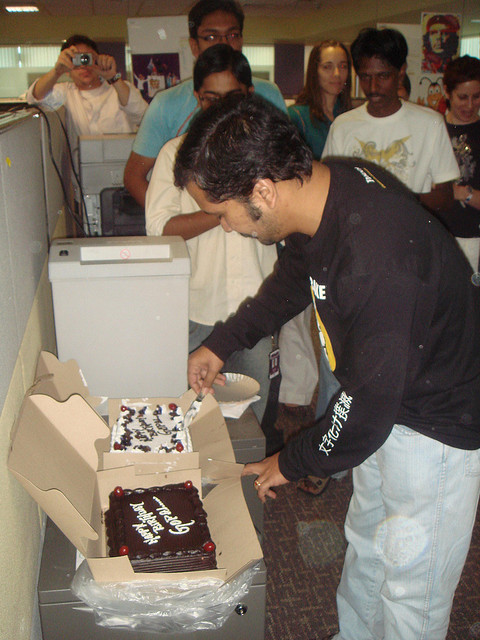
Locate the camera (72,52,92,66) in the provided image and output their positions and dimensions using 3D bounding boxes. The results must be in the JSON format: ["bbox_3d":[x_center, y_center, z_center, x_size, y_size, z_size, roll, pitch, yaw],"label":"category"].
[{"bbox_3d":[-0.776,-1.284,2.608,0.100,0.069,0.066,1,20,-5],"label":"camera"}]

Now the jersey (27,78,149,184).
[{"bbox_3d":[-0.889,-1.155,3.182,0.643,0.549,0.565,-11,22,-28],"label":"jersey"}]

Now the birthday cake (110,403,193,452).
[{"bbox_3d":[-0.199,0.257,1.182,0.162,0.061,0.206,-4,21,-20],"label":"birthday cake"}]

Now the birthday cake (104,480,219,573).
[{"bbox_3d":[-0.152,0.400,1.007,0.177,0.071,0.218,3,13,-15],"label":"birthday cake"}]

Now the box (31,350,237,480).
[{"bbox_3d":[-0.220,0.211,1.101,0.352,0.154,0.269,0,49,-18],"label":"box"}]

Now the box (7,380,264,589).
[{"bbox_3d":[-0.170,0.323,0.947,0.419,0.236,0.307,8,30,-20],"label":"box"}]

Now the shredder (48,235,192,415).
[{"bbox_3d":[-0.273,0.012,1.195,0.326,0.446,0.240,-1,27,-7],"label":"shredder"}]

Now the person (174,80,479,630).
[{"bbox_3d":[0.173,0.265,1.220,0.593,1.433,0.664,-2,19,-6],"label":"person"}]
